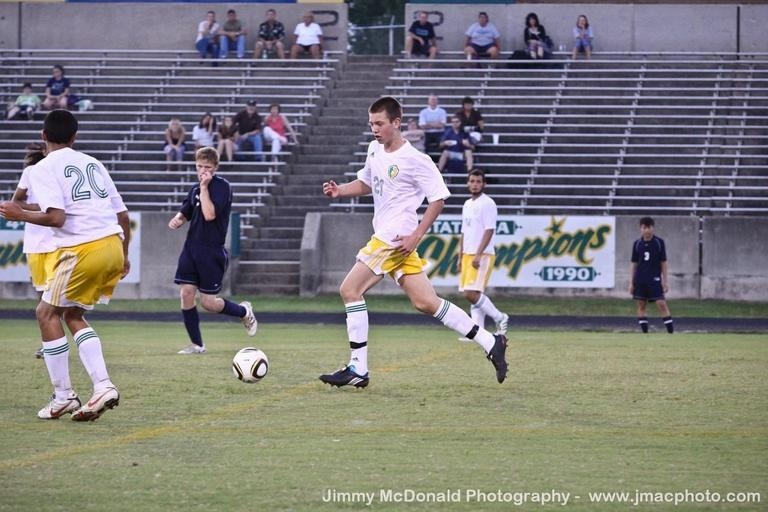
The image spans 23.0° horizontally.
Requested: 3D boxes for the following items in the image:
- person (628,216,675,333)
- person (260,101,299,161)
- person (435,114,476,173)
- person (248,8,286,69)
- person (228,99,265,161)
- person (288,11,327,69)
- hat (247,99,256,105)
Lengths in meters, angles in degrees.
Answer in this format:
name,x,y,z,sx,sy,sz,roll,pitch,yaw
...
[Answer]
name,x,y,z,sx,sy,sz,roll,pitch,yaw
person,6.740,0.453,46.937,1.238,2.728,1.129,-1,1,8
person,-3.099,-3.604,55.174,1.143,1.805,0.817,4,-1,-28
person,2.034,-3.175,53.390,0.927,1.709,0.903,1,0,19
person,-3.655,-6.780,58.686,0.903,1.568,0.806,0,-1,2
person,-4.064,-3.630,55.017,0.868,1.703,0.875,1,-3,4
person,-2.517,-6.644,58.860,0.943,1.595,0.774,0,-1,-19
hat,-3.953,-4.460,55.364,0.296,0.144,0.386,-1,13,-4
